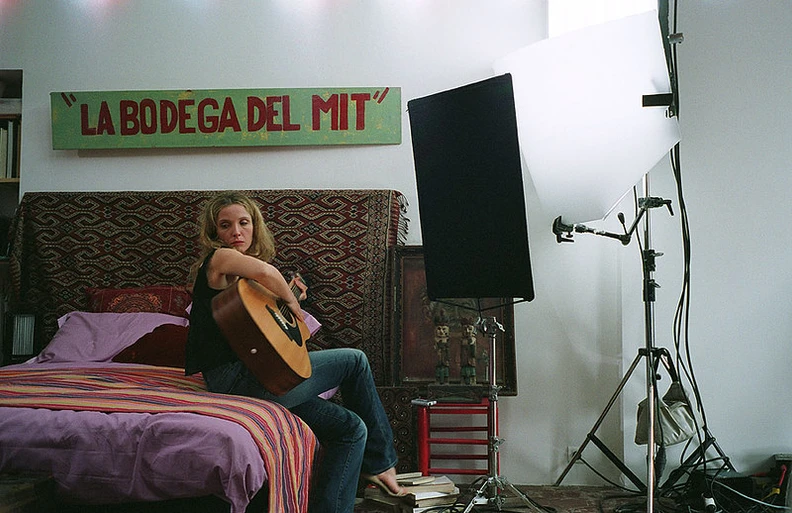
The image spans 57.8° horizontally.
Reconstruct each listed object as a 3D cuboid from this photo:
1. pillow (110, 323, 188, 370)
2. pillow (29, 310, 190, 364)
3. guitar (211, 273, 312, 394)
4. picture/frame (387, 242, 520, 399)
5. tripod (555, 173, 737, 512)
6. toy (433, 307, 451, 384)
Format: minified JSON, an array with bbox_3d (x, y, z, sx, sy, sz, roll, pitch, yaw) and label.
[{"bbox_3d":[-1.616,0.588,4.725,0.462,0.257,0.245,-2,1,-1],"label":"pillow"},{"bbox_3d":[-1.922,0.513,4.924,0.985,0.210,0.573,-2,25,1],"label":"pillow"},{"bbox_3d":[-0.714,0.420,4.266,0.258,0.666,0.961,-32,1,8],"label":"guitar"},{"bbox_3d":[0.385,0.461,4.752,1.089,1.237,0.086,-2,-9,3],"label":"picture/frame"},{"bbox_3d":[1.554,0.515,4.599,0.900,2.172,0.999,-1,1,38],"label":"tripod"},{"bbox_3d":[0.318,0.631,4.946,0.104,0.325,0.369,-2,1,4],"label":"toy"}]
